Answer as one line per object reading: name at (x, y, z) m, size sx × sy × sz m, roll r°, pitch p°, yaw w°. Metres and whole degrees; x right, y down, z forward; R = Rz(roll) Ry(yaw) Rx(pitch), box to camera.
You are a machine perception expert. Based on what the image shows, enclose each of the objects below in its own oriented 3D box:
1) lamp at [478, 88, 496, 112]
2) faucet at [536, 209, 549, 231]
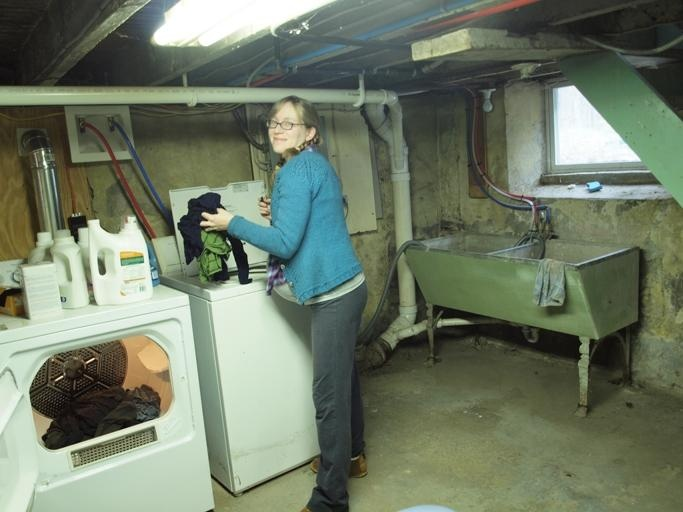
lamp at (1.174, -1.240, 4.644) m, size 0.121 × 0.183 × 0.360 m, roll -5°, pitch 12°, yaw 15°
faucet at (1.531, -0.283, 4.418) m, size 0.098 × 0.151 × 0.105 m, roll -3°, pitch 12°, yaw 24°
